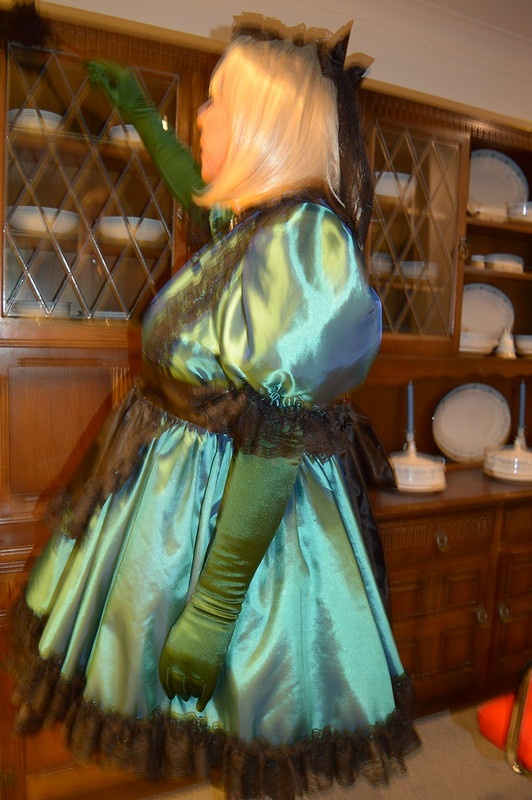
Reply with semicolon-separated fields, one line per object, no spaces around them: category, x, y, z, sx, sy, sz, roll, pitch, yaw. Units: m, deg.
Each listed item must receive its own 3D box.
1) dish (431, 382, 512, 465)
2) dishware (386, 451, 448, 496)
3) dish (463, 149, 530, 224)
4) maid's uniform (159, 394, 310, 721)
dish;0.651;0.064;2.046;0.243;0.249;0.097;-2;7;-7
dishware;0.392;0.187;1.716;0.167;0.121;0.166;3;-2;-7
dish;0.649;-0.612;1.846;0.230;0.213;0.059;1;6;-12
maid's uniform;-0.039;0.168;0.650;0.116;0.302;0.046;6;5;-7
